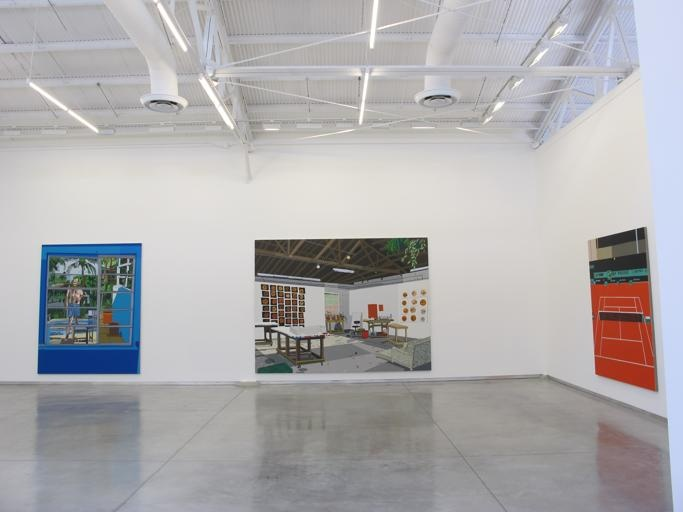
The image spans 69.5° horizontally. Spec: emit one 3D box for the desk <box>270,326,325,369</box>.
[{"bbox_3d":[-0.902,1.863,10.464,0.657,0.710,1.281,-1,2,-27],"label":"desk"}]

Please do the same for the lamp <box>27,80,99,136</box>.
[{"bbox_3d":[-4.808,-2.743,8.629,0.868,0.670,2.504,-1,0,-25],"label":"lamp"}]

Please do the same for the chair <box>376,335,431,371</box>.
[{"bbox_3d":[1.324,1.962,10.200,0.814,0.443,0.794,0,2,-43],"label":"chair"}]

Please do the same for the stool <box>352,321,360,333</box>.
[{"bbox_3d":[0.315,1.493,10.348,0.203,0.238,0.220,1,-11,-1],"label":"stool"}]

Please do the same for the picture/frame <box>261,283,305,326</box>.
[{"bbox_3d":[-1.207,1.005,10.235,0.888,0.769,0.196,-1,0,-10],"label":"picture/frame"}]
